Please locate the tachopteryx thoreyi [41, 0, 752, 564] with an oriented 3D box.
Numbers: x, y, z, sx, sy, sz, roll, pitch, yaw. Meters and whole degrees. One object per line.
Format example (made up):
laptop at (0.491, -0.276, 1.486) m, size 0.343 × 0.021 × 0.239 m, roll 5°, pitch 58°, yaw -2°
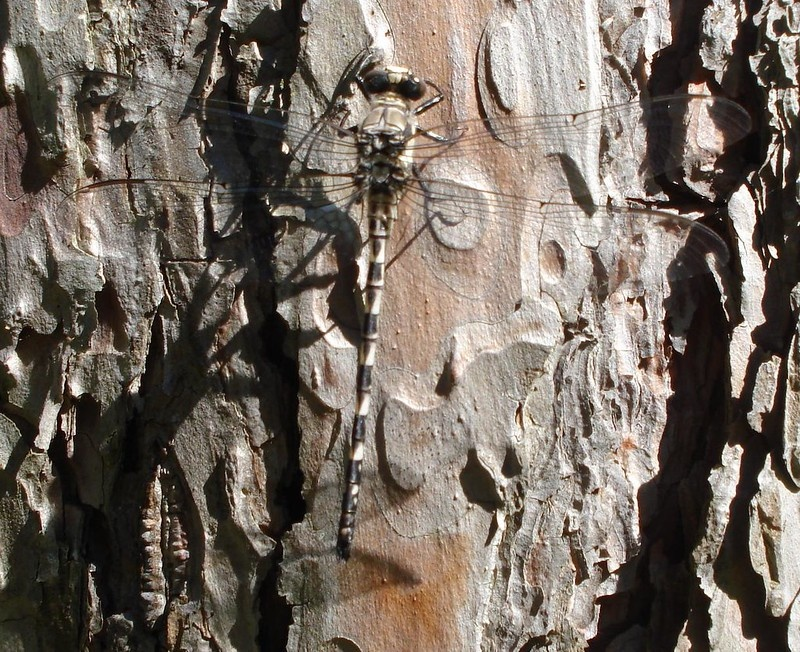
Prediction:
tachopteryx thoreyi at (0.175, -0.218, 5.834) m, size 1.772 × 1.005 × 0.616 m, roll 4°, pitch -31°, yaw -3°
